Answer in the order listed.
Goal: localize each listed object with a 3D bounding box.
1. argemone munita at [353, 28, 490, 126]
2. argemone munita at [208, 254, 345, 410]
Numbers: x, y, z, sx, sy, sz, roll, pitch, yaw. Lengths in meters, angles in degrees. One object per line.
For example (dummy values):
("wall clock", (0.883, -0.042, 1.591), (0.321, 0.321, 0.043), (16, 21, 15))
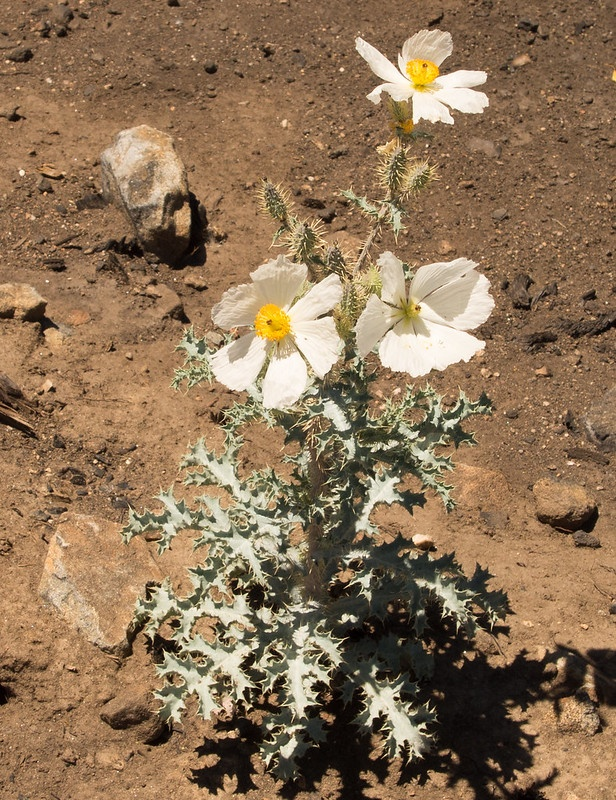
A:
("argemone munita", (0.434, -1.213, 4.443), (0.506, 0.438, 0.123), (11, 90, 3))
("argemone munita", (-0.084, -0.247, 4.300), (0.540, 0.199, 0.508), (16, 101, 18))
